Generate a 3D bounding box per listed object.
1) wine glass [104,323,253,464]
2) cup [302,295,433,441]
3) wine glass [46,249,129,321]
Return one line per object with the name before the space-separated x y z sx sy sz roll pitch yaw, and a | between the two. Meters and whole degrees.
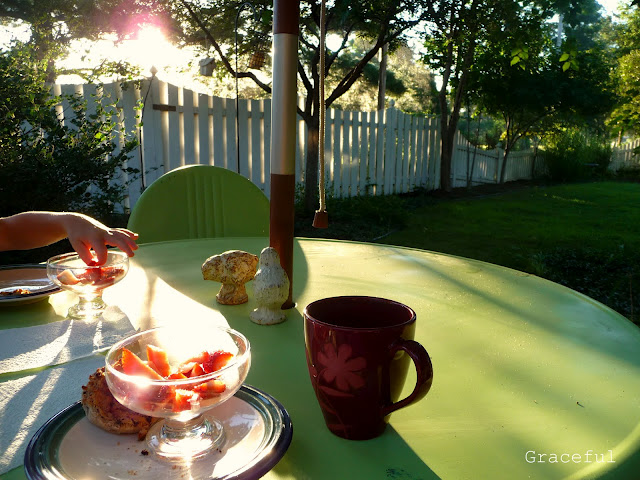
wine glass | -0.185 0.209 0.640 0.160 0.128 0.171 -3 9 -10
cup | 0.077 0.191 0.674 0.150 0.180 0.221 -8 13 -27
wine glass | -0.537 0.107 1.094 0.166 0.138 0.177 4 9 14
